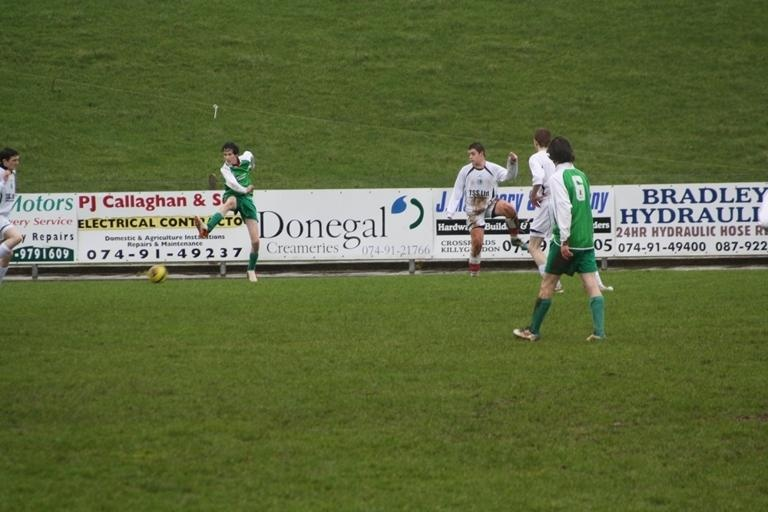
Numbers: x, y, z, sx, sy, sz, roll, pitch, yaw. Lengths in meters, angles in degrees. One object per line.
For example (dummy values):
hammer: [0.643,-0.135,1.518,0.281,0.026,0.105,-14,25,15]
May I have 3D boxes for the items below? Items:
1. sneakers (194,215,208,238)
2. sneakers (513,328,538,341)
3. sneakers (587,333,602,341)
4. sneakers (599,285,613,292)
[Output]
sneakers: [-4.530,-0.741,34.166,0.216,0.603,0.286,0,35,19]
sneakers: [2.729,1.523,26.617,0.484,0.210,0.196,15,0,9]
sneakers: [4.029,1.574,26.402,0.298,0.119,0.107,2,0,9]
sneakers: [4.836,0.711,29.981,0.348,0.138,0.114,-2,18,-6]
